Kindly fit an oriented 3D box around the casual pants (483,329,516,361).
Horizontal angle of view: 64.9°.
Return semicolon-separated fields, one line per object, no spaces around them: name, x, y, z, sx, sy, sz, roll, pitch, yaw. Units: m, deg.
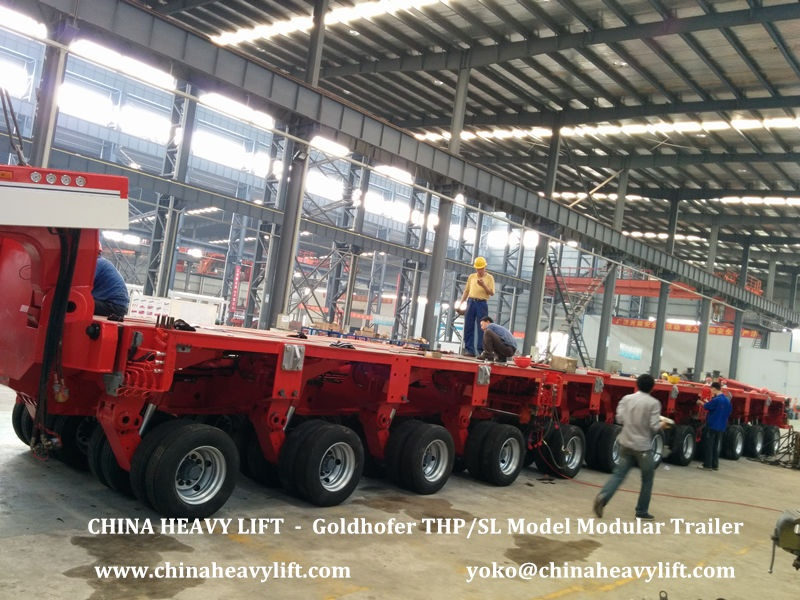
casual pants;1.992;0.965;12.889;0.674;0.494;0.857;9;6;27

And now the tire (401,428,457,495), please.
tire;0.408;2.657;10.317;0.361;0.959;1.139;6;21;45

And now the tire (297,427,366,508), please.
tire;-1.045;2.392;9.132;0.435;1.037;1.237;-3;-15;40

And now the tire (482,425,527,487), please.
tire;1.875;2.913;11.677;0.371;0.972;1.071;2;-27;35

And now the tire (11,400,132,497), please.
tire;-4.363;2.035;8.451;1.728;0.532;0.635;6;6;40

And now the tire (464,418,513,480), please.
tire;1.604;2.796;11.587;1.261;1.052;0.447;-19;18;-40

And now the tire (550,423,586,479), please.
tire;3.473;3.190;13.230;0.418;1.079;1.223;1;-24;42

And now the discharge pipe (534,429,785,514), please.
discharge pipe;5.871;3.859;12.675;6.813;0.147;1.741;13;31;-15
